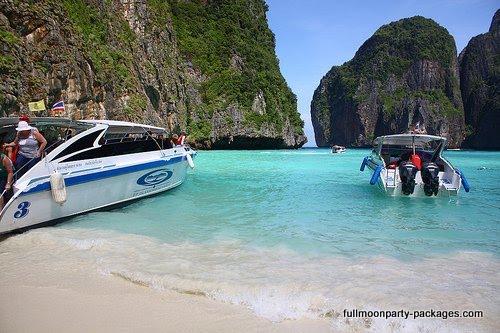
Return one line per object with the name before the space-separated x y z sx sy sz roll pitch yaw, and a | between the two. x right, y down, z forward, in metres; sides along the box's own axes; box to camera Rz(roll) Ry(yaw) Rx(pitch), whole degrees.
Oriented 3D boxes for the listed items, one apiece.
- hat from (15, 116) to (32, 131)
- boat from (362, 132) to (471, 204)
hat | -5.425 -1.012 7.426 0.293 0.352 0.291 -10 18 -35
boat | 6.302 -0.168 12.363 3.013 1.737 5.221 3 7 15
